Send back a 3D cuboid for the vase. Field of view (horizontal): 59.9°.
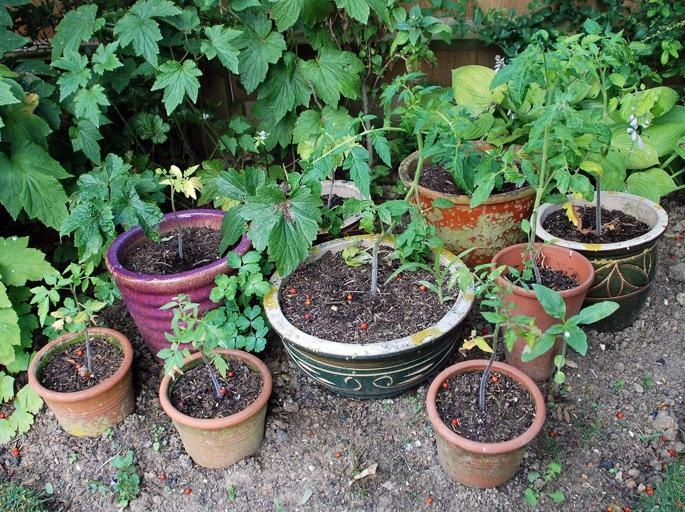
[{"bbox_3d":[1.419,0.010,3.355,0.745,0.637,0.798,-2,34,25],"label":"vase"}]
